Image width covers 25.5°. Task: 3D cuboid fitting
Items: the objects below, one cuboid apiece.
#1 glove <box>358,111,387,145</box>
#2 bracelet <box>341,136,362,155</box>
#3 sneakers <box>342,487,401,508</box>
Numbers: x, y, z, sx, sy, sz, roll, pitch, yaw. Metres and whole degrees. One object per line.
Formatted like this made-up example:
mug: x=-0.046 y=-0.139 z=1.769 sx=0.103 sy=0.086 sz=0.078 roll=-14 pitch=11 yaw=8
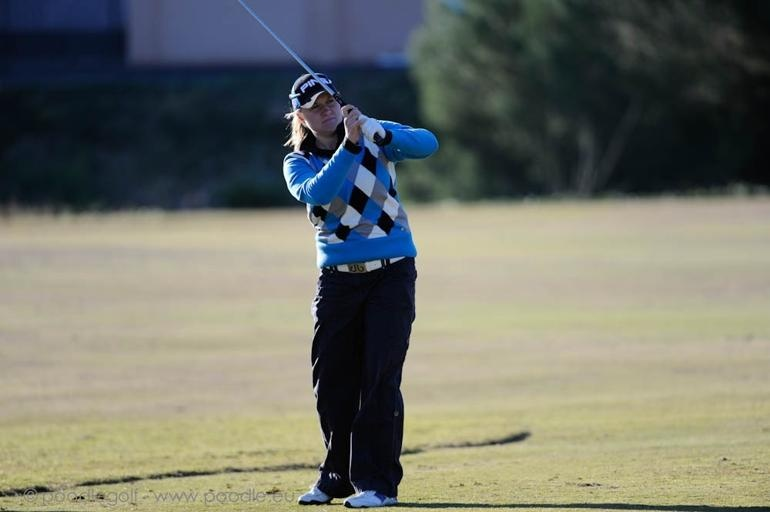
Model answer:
glove: x=-0.145 y=-1.548 z=21.245 sx=0.341 sy=0.357 sz=0.191 roll=2 pitch=7 yaw=-1
bracelet: x=-0.404 y=-1.336 z=21.149 sx=0.230 sy=0.132 sz=0.208 roll=5 pitch=1 yaw=4
sneakers: x=-0.166 y=3.059 z=21.193 sx=0.672 sy=0.236 sz=0.218 roll=3 pitch=-11 yaw=-9
